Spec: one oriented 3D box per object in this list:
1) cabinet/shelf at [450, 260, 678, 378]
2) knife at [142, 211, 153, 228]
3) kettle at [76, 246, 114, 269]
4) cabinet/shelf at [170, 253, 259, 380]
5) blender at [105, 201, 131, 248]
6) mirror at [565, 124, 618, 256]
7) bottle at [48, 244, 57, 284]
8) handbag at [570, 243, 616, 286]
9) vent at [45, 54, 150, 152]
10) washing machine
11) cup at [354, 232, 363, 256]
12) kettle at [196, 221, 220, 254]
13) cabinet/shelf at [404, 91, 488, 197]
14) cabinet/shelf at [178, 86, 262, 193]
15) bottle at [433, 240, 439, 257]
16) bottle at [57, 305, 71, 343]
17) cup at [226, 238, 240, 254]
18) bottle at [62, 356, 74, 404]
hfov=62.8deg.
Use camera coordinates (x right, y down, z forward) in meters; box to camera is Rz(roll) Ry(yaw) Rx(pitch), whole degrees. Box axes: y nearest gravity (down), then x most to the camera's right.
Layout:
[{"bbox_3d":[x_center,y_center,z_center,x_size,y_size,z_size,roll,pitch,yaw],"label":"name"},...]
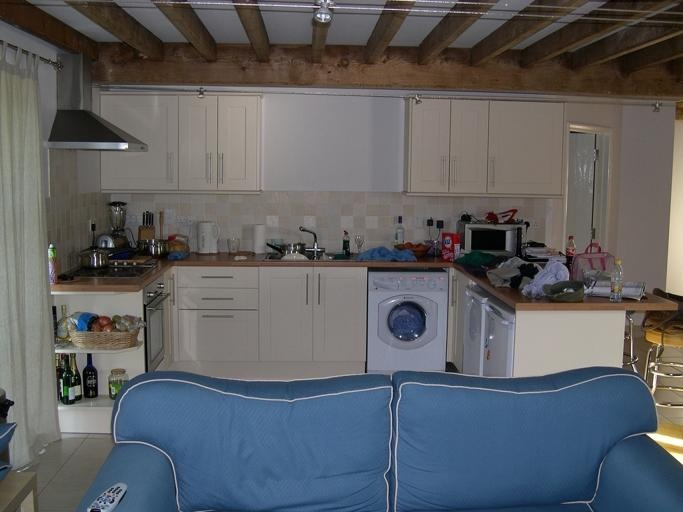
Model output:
[{"bbox_3d":[1.639,0.683,4.315,1.017,0.912,1.358,1,5,-2],"label":"cabinet/shelf"},{"bbox_3d":[-1.946,-0.371,5.604,0.111,0.180,0.196,-1,-4,-20],"label":"knife"},{"bbox_3d":[-2.081,0.011,4.770,0.188,0.132,0.214,0,-2,-5],"label":"kettle"},{"bbox_3d":[-1.040,0.548,5.559,1.060,1.281,0.813,0,0,-4],"label":"cabinet/shelf"},{"bbox_3d":[-2.151,-0.311,5.378,0.199,0.494,0.605,-1,-4,-22],"label":"blender"},{"bbox_3d":[2.881,-0.812,6.522,0.358,1.497,1.075,-3,-4,10],"label":"mirror"},{"bbox_3d":[-2.177,0.054,4.207,0.051,0.317,0.315,-1,-4,-28],"label":"bottle"},{"bbox_3d":[2.008,0.071,4.463,0.401,0.380,0.186,0,-2,-1],"label":"handbag"},{"bbox_3d":[-2.027,-1.231,4.902,0.786,0.985,0.905,1,0,-6],"label":"vent"},{"bbox_3d":[0.590,0.621,5.615,0.913,1.272,0.884,0,1,-1],"label":"washing machine"},{"bbox_3d":[0.189,-0.135,5.780,0.114,0.213,0.143,-2,-4,-3],"label":"cup"},{"bbox_3d":[-1.316,-0.174,5.488,0.295,0.300,0.210,0,1,-29],"label":"kettle"},{"bbox_3d":[1.020,-1.109,5.430,0.972,1.110,0.522,0,3,0],"label":"cabinet/shelf"},{"bbox_3d":[-1.191,-1.143,5.357,0.973,1.142,0.480,0,4,-1],"label":"cabinet/shelf"},{"bbox_3d":[0.967,-0.077,5.696,0.067,0.164,0.154,-3,-4,9],"label":"bottle"},{"bbox_3d":[-2.104,0.507,4.222,0.081,0.279,0.060,-1,-4,-31],"label":"bottle"},{"bbox_3d":[-1.102,-0.104,5.678,0.140,0.146,0.139,0,1,0],"label":"cup"},{"bbox_3d":[-2.105,0.941,4.280,0.110,0.371,0.040,-2,-3,-8],"label":"bottle"}]
